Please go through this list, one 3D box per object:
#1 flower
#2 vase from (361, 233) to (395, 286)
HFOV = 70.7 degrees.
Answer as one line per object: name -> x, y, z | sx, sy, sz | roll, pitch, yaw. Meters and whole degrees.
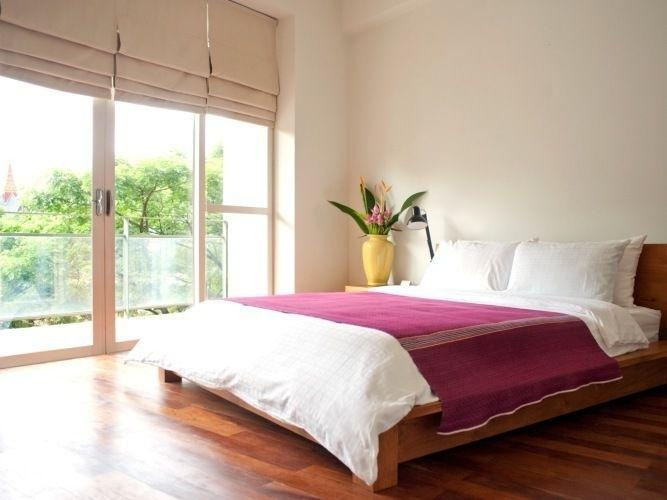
flower -> 0.437, -0.401, 4.779 | 0.951, 0.556, 0.885 | 7, -6, 5
vase -> 0.456, 0.077, 4.749 | 0.337, 0.496, 0.330 | 1, 5, 26
